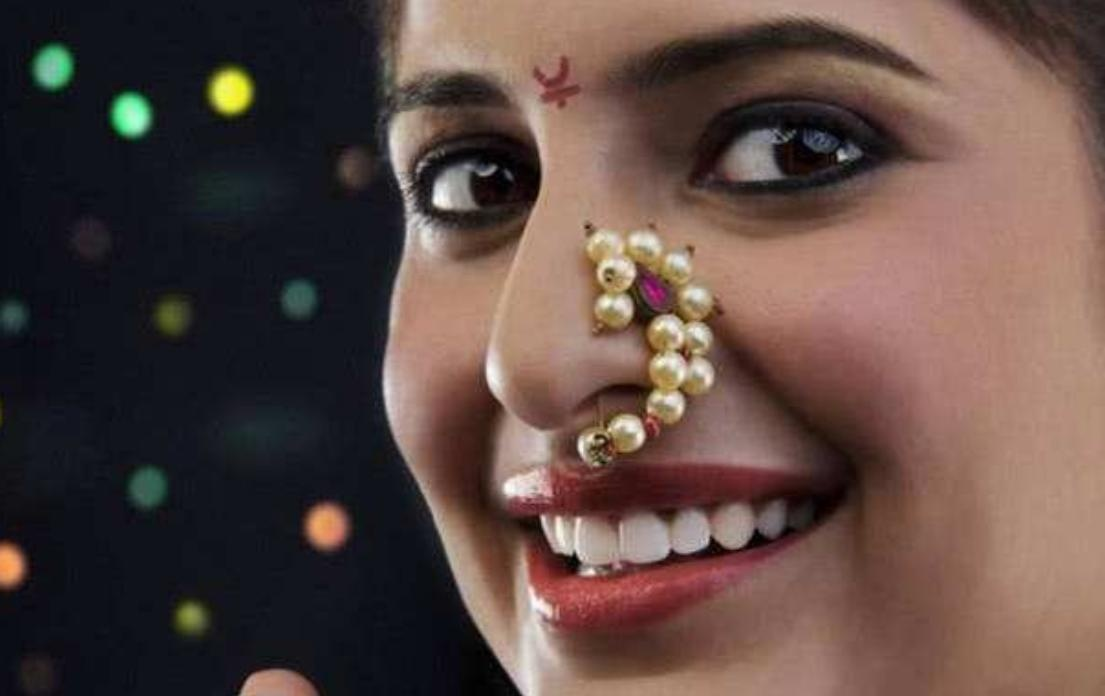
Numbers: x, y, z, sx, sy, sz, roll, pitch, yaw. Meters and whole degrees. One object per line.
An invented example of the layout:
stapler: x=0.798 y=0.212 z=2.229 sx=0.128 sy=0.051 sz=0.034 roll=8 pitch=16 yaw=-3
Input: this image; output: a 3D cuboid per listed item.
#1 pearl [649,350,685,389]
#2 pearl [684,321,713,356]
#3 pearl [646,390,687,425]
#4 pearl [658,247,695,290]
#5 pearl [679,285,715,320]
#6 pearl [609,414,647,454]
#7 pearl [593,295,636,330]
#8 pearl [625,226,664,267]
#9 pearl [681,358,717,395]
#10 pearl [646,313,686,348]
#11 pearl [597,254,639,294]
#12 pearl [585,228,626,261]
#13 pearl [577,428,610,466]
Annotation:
pearl: x=0.138 y=0.028 z=1.852 sx=0.037 sy=0.022 sz=0.045 roll=17 pitch=91 yaw=6
pearl: x=0.175 y=-0.011 z=1.863 sx=0.031 sy=0.034 sz=0.045 roll=2 pitch=87 yaw=-1
pearl: x=0.137 y=0.071 z=1.857 sx=0.034 sy=0.039 sz=0.050 roll=-1 pitch=93 yaw=-9
pearl: x=0.150 y=-0.096 z=1.877 sx=0.032 sy=0.047 sz=0.041 roll=2 pitch=96 yaw=8
pearl: x=0.174 y=-0.055 z=1.869 sx=0.036 sy=0.039 sz=0.052 roll=3 pitch=94 yaw=34
pearl: x=0.090 y=0.104 z=1.863 sx=0.039 sy=0.042 sz=0.056 roll=-2 pitch=94 yaw=-25
pearl: x=0.074 y=-0.043 z=1.857 sx=0.031 sy=0.036 sz=0.051 roll=5 pitch=76 yaw=9
pearl: x=0.112 y=-0.123 z=1.877 sx=0.038 sy=0.042 sz=0.056 roll=-1 pitch=92 yaw=15
pearl: x=0.176 y=0.034 z=1.861 sx=0.035 sy=0.039 sz=0.052 roll=1 pitch=97 yaw=-9
pearl: x=0.137 y=-0.017 z=1.863 sx=0.046 sy=0.024 sz=0.037 roll=0 pitch=59 yaw=-3
pearl: x=0.077 y=-0.088 z=1.857 sx=0.037 sy=0.025 sz=0.047 roll=19 pitch=98 yaw=13
pearl: x=0.062 y=-0.124 z=1.874 sx=0.034 sy=0.037 sz=0.050 roll=1 pitch=94 yaw=-9
pearl: x=0.051 y=0.119 z=1.871 sx=0.020 sy=0.050 sz=0.030 roll=11 pitch=73 yaw=5
